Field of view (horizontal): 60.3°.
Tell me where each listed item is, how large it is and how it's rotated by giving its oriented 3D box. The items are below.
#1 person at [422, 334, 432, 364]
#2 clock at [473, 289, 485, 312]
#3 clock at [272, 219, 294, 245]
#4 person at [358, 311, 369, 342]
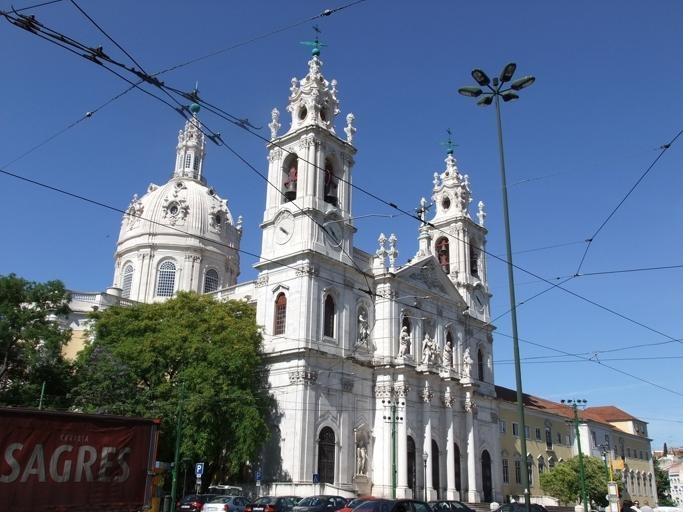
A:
[{"bbox_3d":[7.144,7.813,49.122,0.818,2.445,1.284,-6,-24,18],"label":"person"},{"bbox_3d":[13.948,4.547,59.773,0.208,1.976,1.740,-26,-41,30],"label":"clock"},{"bbox_3d":[-4.494,-1.857,46.012,2.007,2.342,0.321,0,-14,36],"label":"clock"},{"bbox_3d":[1.803,5.710,46.840,1.190,2.455,0.350,22,-30,-40],"label":"person"}]
